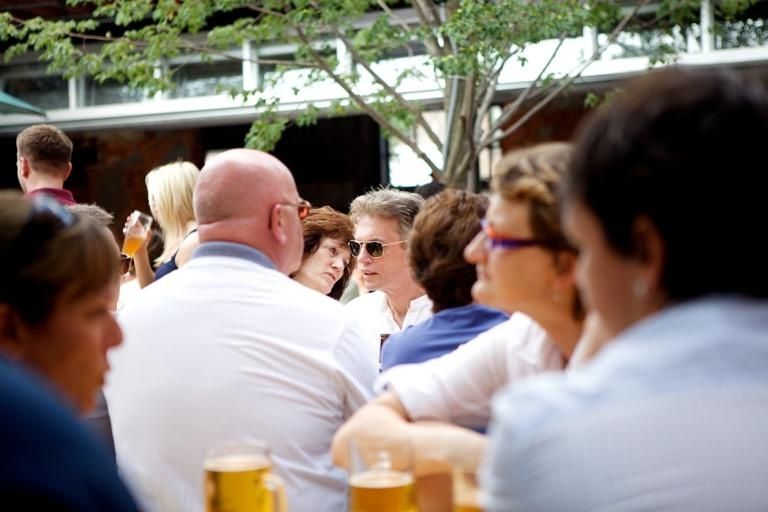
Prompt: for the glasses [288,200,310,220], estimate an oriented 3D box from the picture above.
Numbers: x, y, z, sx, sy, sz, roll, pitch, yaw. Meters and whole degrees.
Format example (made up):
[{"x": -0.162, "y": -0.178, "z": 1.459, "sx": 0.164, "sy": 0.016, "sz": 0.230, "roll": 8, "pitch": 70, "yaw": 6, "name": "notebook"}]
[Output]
[{"x": -0.286, "y": -0.165, "z": 3.404, "sx": 0.064, "sy": 0.067, "sz": 0.024, "roll": 6, "pitch": 29, "yaw": -22, "name": "glasses"}]
